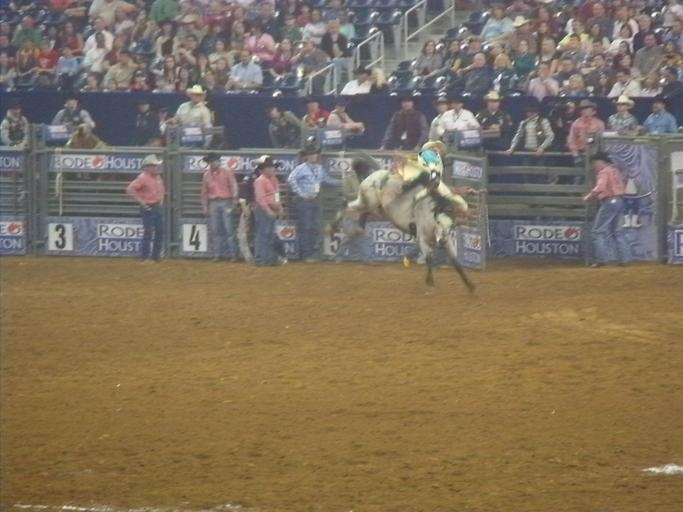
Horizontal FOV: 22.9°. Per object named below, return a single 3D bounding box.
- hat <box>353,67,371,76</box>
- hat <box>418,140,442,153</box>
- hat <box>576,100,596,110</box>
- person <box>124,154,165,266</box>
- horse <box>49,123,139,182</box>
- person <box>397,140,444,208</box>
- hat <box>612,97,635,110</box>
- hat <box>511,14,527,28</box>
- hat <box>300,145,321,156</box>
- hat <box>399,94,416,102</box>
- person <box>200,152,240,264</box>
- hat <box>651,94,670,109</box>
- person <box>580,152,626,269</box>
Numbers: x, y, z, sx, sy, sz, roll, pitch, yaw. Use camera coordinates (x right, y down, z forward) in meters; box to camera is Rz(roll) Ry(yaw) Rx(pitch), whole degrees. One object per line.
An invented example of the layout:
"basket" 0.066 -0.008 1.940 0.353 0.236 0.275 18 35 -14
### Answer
"hat" 0.479 -4.025 36.697 0.316 0.241 0.248 -8 20 -18
"hat" 1.727 -2.063 32.333 0.418 0.274 0.307 3 28 34
"hat" 5.043 -3.147 34.808 0.337 0.210 0.196 -1 0 6
"person" -3.981 -0.999 35.404 0.554 2.219 0.770 -1 0 16
"horse" -5.190 -2.180 36.264 1.850 1.294 0.875 -1 0 0
"person" 1.522 -1.636 32.423 0.864 1.181 1.496 -1 0 -2
"hat" 5.783 -3.150 34.748 0.364 0.327 0.444 -1 0 8
"hat" 3.861 -5.124 36.686 0.314 0.310 0.512 -1 0 5
"hat" -0.596 -2.201 35.097 0.444 0.259 0.468 -1 0 -18
"hat" 1.415 -3.308 35.615 0.280 0.224 0.320 -1 0 1
"person" -2.502 -1.021 35.375 0.690 2.239 0.661 -1 0 -13
"hat" 6.566 -3.179 34.885 0.389 0.280 0.194 -1 0 -36
"person" 5.391 -0.976 34.508 0.770 2.346 0.429 -1 0 12
